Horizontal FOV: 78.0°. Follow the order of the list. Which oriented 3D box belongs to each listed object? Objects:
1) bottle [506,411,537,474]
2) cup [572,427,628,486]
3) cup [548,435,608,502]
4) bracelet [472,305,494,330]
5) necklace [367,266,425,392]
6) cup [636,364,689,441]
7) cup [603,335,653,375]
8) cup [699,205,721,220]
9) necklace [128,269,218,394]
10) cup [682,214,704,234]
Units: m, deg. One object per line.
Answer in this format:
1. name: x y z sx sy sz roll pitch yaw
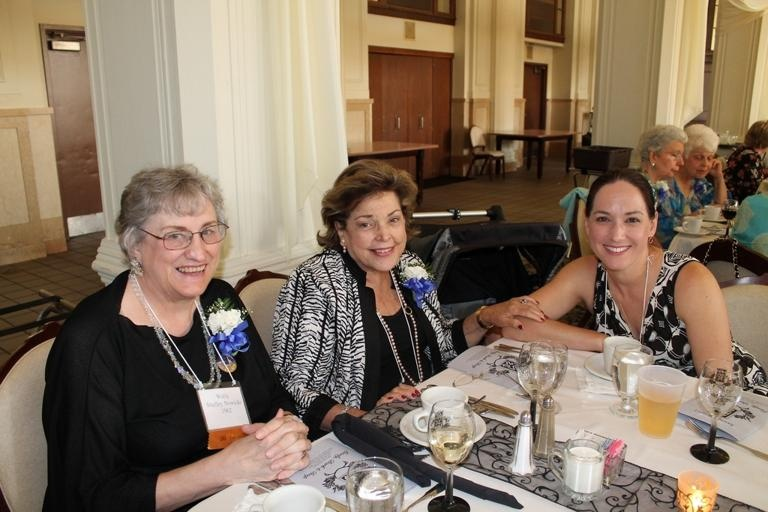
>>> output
1. bottle: 0.413 0.534 1.426 0.076 0.198 0.150 0 16 16
2. cup: 0.646 0.572 1.411 0.130 0.110 0.169 5 8 39
3. cup: 0.537 0.585 1.364 0.184 0.143 0.119 1 13 45
4. bracelet: 0.491 0.314 2.391 0.032 0.101 0.117 3 11 23
5. necklace: 0.120 0.343 2.253 0.164 0.471 0.493 -13 -17 -18
6. cup: 0.909 0.480 1.566 0.134 0.216 0.118 4 18 29
7. cup: 0.928 0.369 1.861 0.170 0.126 0.171 1 12 0
8. cup: 3.195 -0.408 4.674 0.180 0.134 0.206 -3 -4 -18
9. necklace: -0.757 0.291 1.713 0.088 0.451 0.271 -29 -1 34
10. cup: 2.736 -0.274 4.240 0.224 0.158 0.169 -8 10 19
